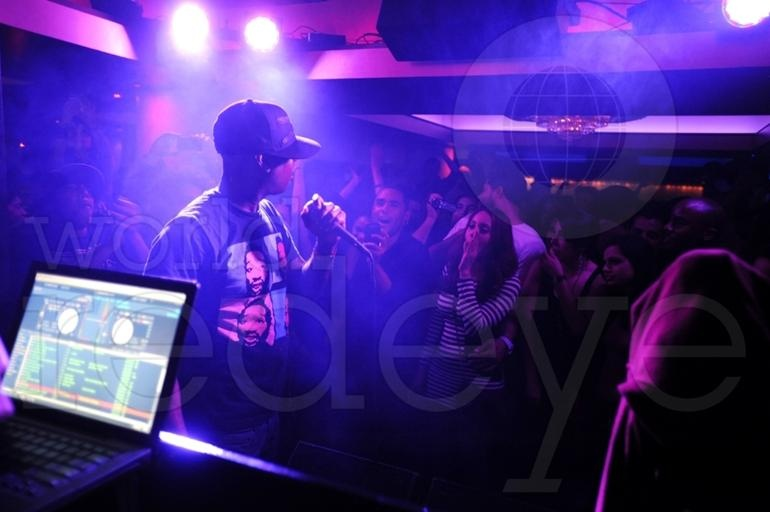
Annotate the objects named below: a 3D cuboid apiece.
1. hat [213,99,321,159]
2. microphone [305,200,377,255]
[{"bbox_3d":[-0.788,-0.845,3.969,0.564,0.294,0.346,-6,17,-17],"label":"hat"},{"bbox_3d":[-0.341,-0.213,4.631,0.606,0.153,0.163,43,-31,2],"label":"microphone"}]
